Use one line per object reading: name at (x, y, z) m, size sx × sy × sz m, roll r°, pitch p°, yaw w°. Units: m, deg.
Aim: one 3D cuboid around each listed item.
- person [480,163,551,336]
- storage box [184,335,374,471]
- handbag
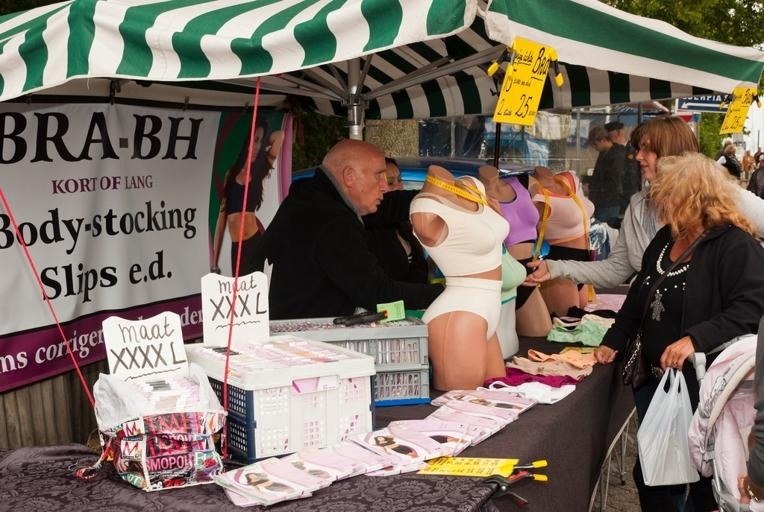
person at (0.852, -0.027, 3.972) m, size 0.341 × 0.923 × 0.765 m, roll -9°, pitch 0°, yaw 32°
storage box at (-0.335, 0.532, 2.526) m, size 0.410 × 0.276 × 0.623 m, roll 0°, pitch -1°, yaw -37°
handbag at (1.446, 0.303, 3.455) m, size 0.176 × 0.753 × 0.407 m, roll 21°, pitch -6°, yaw -18°
